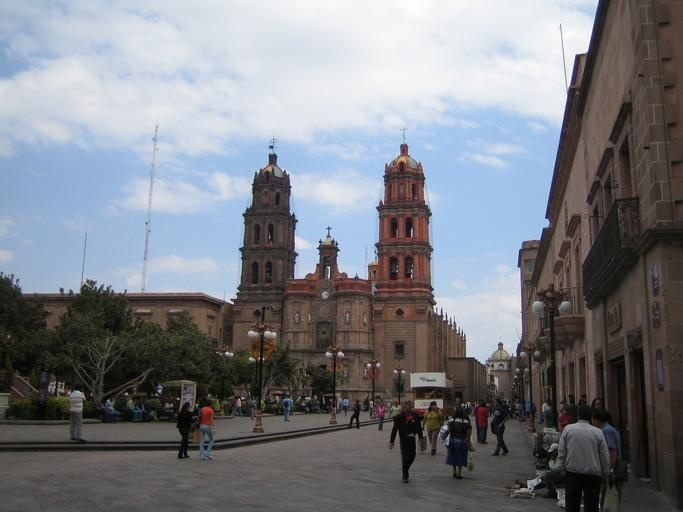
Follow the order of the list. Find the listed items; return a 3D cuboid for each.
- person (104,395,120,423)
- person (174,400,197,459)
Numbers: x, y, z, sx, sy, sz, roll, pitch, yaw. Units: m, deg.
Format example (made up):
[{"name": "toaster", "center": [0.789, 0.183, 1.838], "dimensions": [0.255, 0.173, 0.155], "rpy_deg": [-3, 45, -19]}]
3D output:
[{"name": "person", "center": [-13.179, 8.840, 38.220], "dimensions": [0.918, 1.287, 3.719], "rpy_deg": [5, -16, -17]}, {"name": "person", "center": [-4.778, 5.303, 20.361], "dimensions": [0.477, 1.644, 0.760], "rpy_deg": [3, -14, -12]}]
